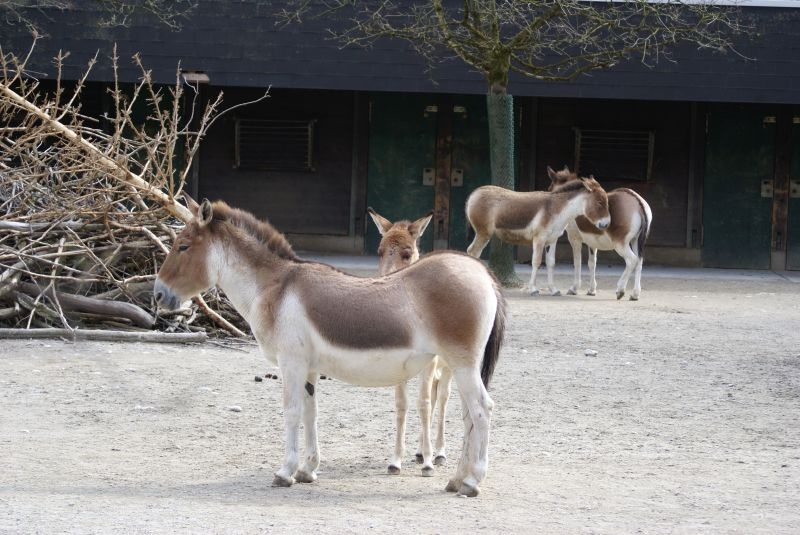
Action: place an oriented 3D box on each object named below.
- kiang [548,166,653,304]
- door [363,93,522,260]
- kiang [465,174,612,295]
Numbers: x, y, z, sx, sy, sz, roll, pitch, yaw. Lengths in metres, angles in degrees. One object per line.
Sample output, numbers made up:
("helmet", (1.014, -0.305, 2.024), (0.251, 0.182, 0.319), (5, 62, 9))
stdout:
("kiang", (3.596, -0.594, 21.237), (0.921, 2.285, 2.937), (3, 0, -32))
("door", (0.773, -2.152, 25.808), (2.917, 3.856, 0.451), (-1, 36, -5))
("kiang", (2.446, -0.603, 20.690), (2.801, 2.085, 0.759), (5, 11, 27))
